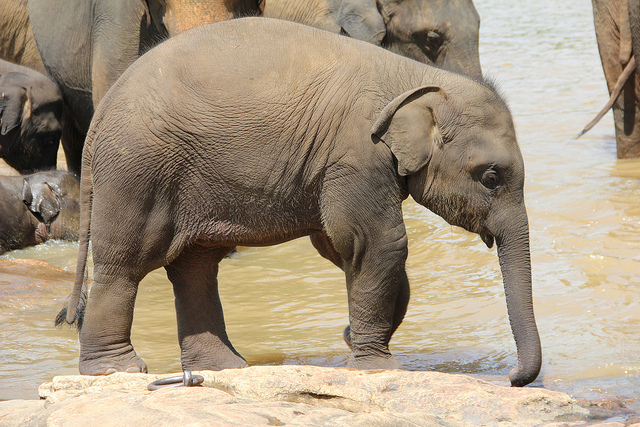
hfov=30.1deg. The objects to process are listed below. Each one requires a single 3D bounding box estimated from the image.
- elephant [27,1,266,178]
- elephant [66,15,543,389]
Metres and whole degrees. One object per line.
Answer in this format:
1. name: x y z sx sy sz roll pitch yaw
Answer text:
1. elephant: -1.232 -1.170 9.185 2.304 1.168 1.081 8 15 44
2. elephant: -0.114 -0.011 7.702 3.372 1.958 1.134 -1 -7 -17
